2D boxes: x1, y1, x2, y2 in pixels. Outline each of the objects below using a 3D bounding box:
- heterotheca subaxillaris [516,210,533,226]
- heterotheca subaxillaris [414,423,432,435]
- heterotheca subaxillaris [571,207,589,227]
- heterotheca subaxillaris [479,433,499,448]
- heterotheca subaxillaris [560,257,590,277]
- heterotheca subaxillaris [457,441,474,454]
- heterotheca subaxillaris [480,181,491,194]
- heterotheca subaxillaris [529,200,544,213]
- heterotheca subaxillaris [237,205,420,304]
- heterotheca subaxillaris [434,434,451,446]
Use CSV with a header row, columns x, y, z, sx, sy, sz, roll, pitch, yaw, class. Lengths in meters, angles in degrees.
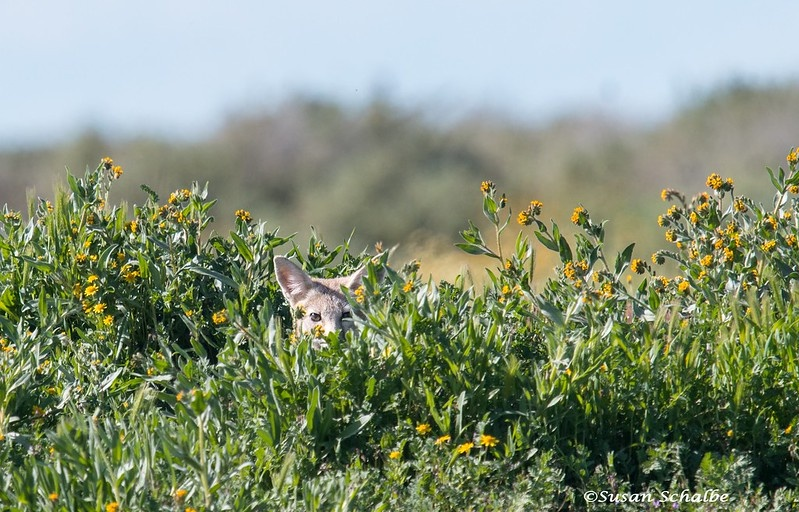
x,y,z,sx,sy,sz,roll,pitch,yaw,class
0.884,-0.274,10.065,0.105,0.088,0.088,-5,-16,-37,heterotheca subaxillaris
0.162,1.112,9.197,0.078,0.038,0.077,-15,17,-43,heterotheca subaxillaris
1.262,-0.279,10.021,0.127,0.129,0.135,-14,5,24,heterotheca subaxillaris
0.575,1.181,9.136,0.101,0.055,0.109,4,15,-30,heterotheca subaxillaris
1.171,0.080,9.458,0.122,0.089,0.147,-16,2,1,heterotheca subaxillaris
0.430,1.213,9.112,0.087,0.035,0.088,-30,-5,-7,heterotheca subaxillaris
0.632,-0.505,10.202,0.076,0.081,0.081,-6,35,-7,heterotheca subaxillaris
0.967,-0.345,10.081,0.086,0.075,0.145,-11,-14,3,heterotheca subaxillaris
-0.485,0.181,10.630,1.296,1.024,0.800,2,-2,-6,heterotheca subaxillaris
0.284,1.172,9.153,0.066,0.026,0.067,-23,-7,34,heterotheca subaxillaris
